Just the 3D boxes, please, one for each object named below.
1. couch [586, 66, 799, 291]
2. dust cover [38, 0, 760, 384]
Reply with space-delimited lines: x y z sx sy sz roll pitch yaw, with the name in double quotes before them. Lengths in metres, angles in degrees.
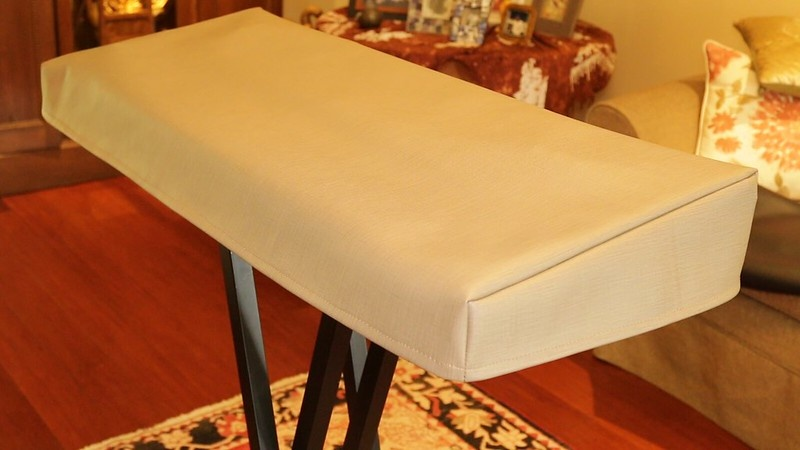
"couch" 0.982 -0.077 2.198 0.646 0.222 0.666 -24 47 -23
"dust cover" -0.087 -0.130 1.296 0.650 0.233 1.236 -23 39 -39
